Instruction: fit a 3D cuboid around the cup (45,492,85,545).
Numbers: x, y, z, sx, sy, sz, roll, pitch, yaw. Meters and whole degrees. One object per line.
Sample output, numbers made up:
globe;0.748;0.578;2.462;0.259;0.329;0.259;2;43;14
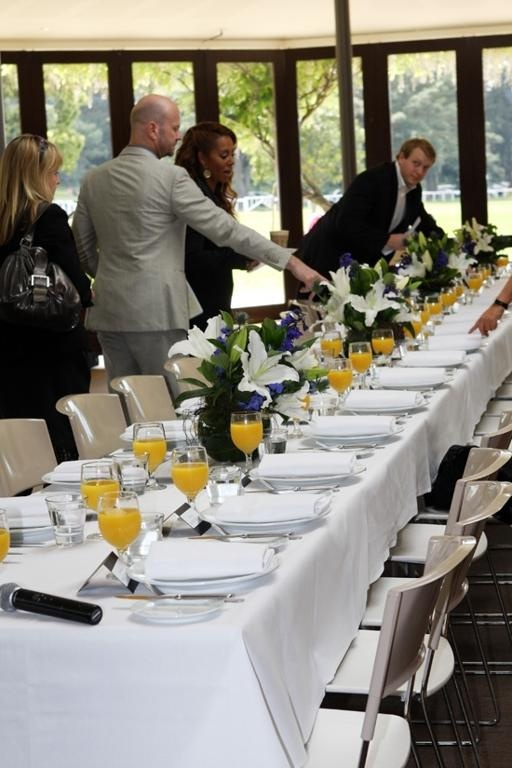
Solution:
cup;-0.342;0.243;1.143;0.086;0.092;0.088;0;1;0
